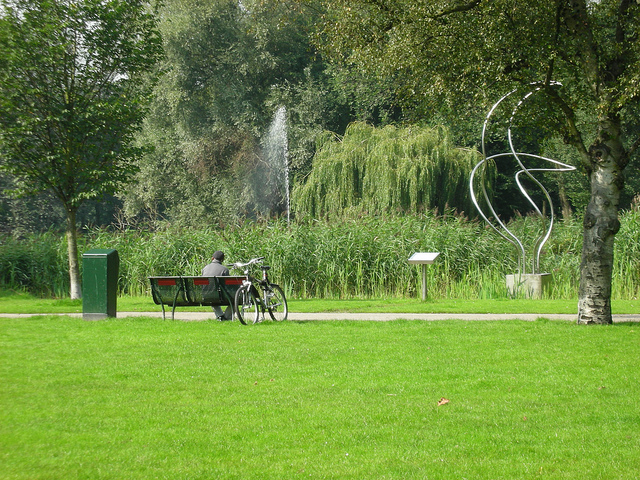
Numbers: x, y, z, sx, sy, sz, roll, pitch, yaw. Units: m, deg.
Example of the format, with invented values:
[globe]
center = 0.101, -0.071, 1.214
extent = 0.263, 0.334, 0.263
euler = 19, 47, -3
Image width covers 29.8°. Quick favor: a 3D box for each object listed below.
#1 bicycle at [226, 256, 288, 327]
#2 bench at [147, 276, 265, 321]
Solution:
[bicycle]
center = -1.617, 1.347, 31.024
extent = 1.091, 1.661, 2.583
euler = -6, -2, 26
[bench]
center = -3.209, 1.450, 31.231
extent = 2.721, 1.084, 0.525
euler = -4, -3, 26
